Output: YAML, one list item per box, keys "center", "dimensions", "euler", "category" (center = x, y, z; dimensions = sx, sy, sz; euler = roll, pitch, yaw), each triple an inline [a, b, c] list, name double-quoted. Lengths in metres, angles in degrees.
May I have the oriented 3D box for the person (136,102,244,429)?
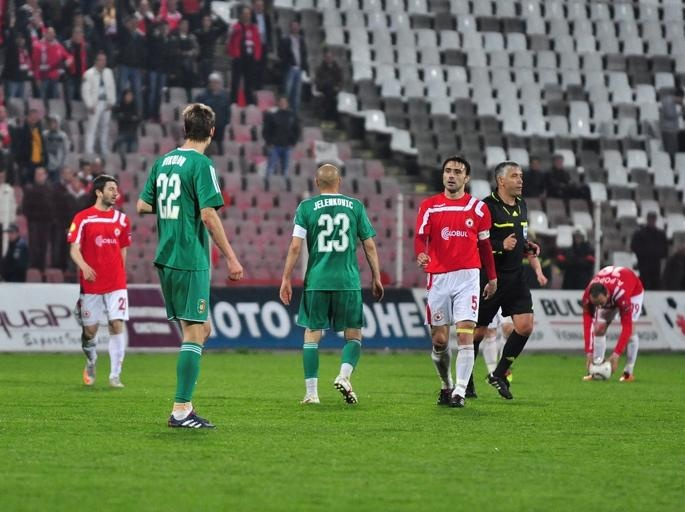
- center: [-2.160, 0.185, 19.266]
  dimensions: [1.010, 4.441, 1.288]
  euler: [-9, 16, -32]
  category: "person"

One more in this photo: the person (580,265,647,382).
- center: [4.552, 1.191, 23.440]
  dimensions: [0.960, 2.052, 1.308]
  euler: [3, 15, 11]
  category: "person"

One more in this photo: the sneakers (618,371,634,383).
- center: [4.761, 2.030, 23.195]
  dimensions: [0.209, 0.245, 0.154]
  euler: [-1, 1, 10]
  category: "sneakers"

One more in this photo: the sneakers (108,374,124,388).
- center: [-3.603, 1.992, 21.875]
  dimensions: [0.222, 0.177, 0.136]
  euler: [2, 5, 5]
  category: "sneakers"

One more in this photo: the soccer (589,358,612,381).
- center: [4.311, 1.913, 23.120]
  dimensions: [0.317, 0.316, 0.306]
  euler: [1, 22, -9]
  category: "soccer"

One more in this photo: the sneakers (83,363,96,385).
- center: [-4.041, 1.878, 21.951]
  dimensions: [0.142, 0.443, 0.174]
  euler: [8, -23, -25]
  category: "sneakers"

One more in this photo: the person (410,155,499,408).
- center: [1.627, 0.389, 20.430]
  dimensions: [1.136, 3.641, 1.047]
  euler: [1, 14, 3]
  category: "person"

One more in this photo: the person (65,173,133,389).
- center: [-3.824, 0.450, 21.854]
  dimensions: [0.939, 3.417, 0.880]
  euler: [-5, 15, -20]
  category: "person"
